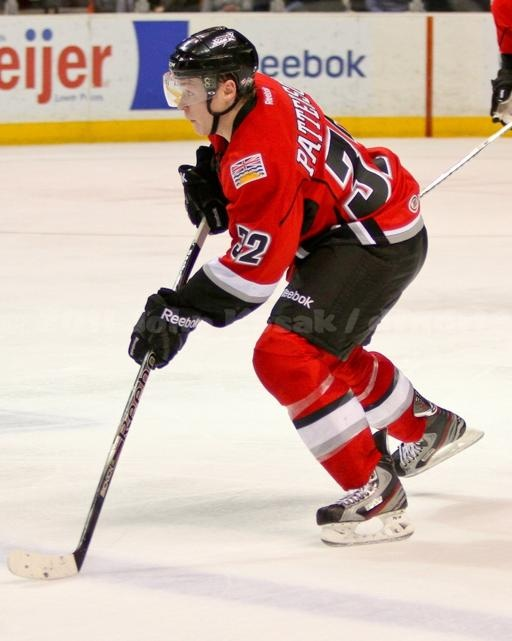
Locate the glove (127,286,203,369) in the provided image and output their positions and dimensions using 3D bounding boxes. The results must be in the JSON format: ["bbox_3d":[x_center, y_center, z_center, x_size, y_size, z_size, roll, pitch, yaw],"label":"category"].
[{"bbox_3d":[-0.163,0.014,1.456,0.117,0.176,0.074,47,26,13],"label":"glove"}]

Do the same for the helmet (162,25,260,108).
[{"bbox_3d":[-0.097,-0.501,1.430,0.201,0.128,0.141,-25,51,-23],"label":"helmet"}]

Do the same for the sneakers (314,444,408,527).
[{"bbox_3d":[0.256,0.350,1.552,0.242,0.157,0.082,-29,-31,35],"label":"sneakers"}]
